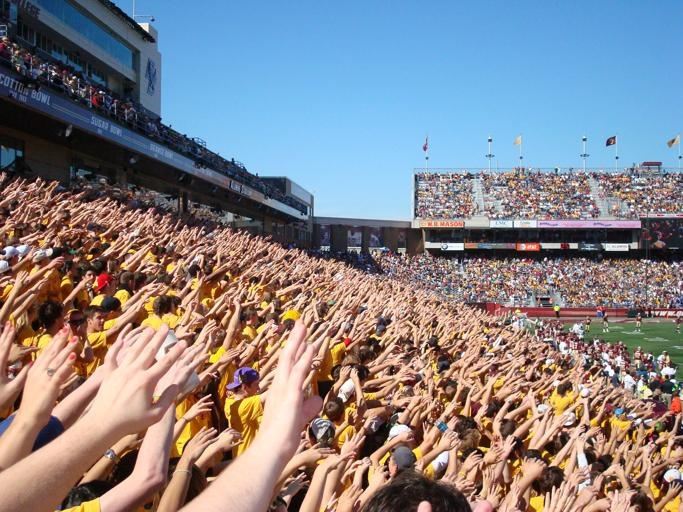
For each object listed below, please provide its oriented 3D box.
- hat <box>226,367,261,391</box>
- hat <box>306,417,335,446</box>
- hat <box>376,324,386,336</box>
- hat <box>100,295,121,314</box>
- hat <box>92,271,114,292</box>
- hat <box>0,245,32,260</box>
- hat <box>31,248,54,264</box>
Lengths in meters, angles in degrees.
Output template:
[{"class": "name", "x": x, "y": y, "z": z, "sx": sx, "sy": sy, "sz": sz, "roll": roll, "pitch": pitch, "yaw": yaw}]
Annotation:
[{"class": "hat", "x": -0.994, "y": 1.238, "z": 5.546, "sx": 0.319, "sy": 0.237, "sz": 0.195, "roll": 5, "pitch": -1, "yaw": 11}, {"class": "hat", "x": -0.176, "y": 1.590, "z": 4.902, "sx": 0.235, "sy": 0.254, "sz": 0.565, "roll": 5, "pitch": -1, "yaw": -3}, {"class": "hat", "x": 0.705, "y": 1.380, "z": 10.285, "sx": 0.184, "sy": 0.155, "sz": 0.323, "roll": 13, "pitch": -4, "yaw": 17}, {"class": "hat", "x": -2.749, "y": 0.565, "z": 6.604, "sx": 0.153, "sy": 0.210, "sz": 0.195, "roll": 7, "pitch": 9, "yaw": 36}, {"class": "hat", "x": -3.318, "y": 0.351, "z": 7.723, "sx": 0.267, "sy": 0.211, "sz": 0.376, "roll": -35, "pitch": 21, "yaw": -16}, {"class": "hat", "x": -4.317, "y": -0.068, "z": 7.361, "sx": 0.215, "sy": 0.112, "sz": 0.341, "roll": 19, "pitch": 27, "yaw": 40}, {"class": "hat", "x": -3.945, "y": 0.004, "z": 7.284, "sx": 0.125, "sy": 0.103, "sz": 0.217, "roll": 21, "pitch": 24, "yaw": 8}]
